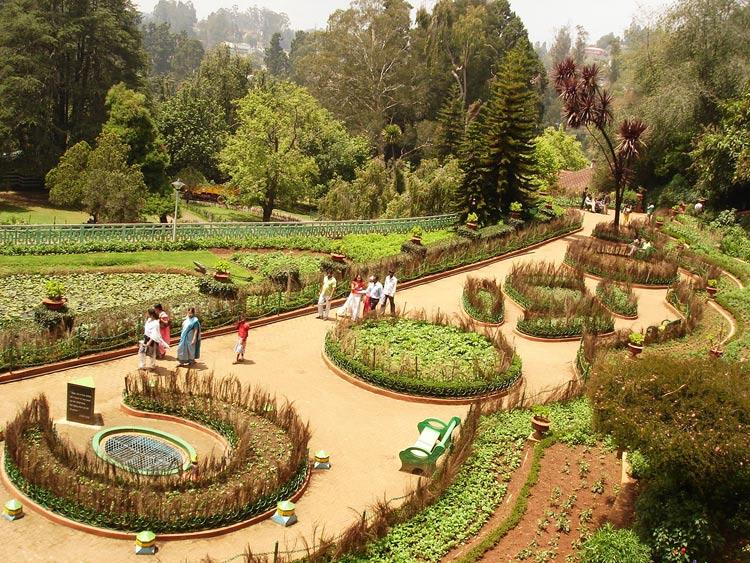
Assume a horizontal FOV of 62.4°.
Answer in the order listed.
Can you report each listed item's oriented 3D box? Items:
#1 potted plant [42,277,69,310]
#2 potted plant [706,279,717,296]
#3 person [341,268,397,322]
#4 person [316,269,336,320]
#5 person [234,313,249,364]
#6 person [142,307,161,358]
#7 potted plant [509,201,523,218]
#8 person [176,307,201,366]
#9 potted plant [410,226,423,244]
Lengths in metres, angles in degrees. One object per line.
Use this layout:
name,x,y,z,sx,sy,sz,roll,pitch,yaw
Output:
potted plant,-9.783,0.444,19.039,0.700,0.909,0.505,5,11,14
potted plant,14.624,0.249,26.920,0.542,0.656,0.589,0,8,0
person,-0.242,0.551,22.370,2.520,0.975,1.097,-26,27,-35
person,-1.790,0.410,22.934,0.611,1.589,1.676,1,11,-4
person,-4.050,1.628,18.756,0.356,1.460,1.285,-1,11,-13
person,-6.205,1.442,17.274,0.492,1.414,0.285,-4,11,-27
potted plant,7.959,-4.044,35.015,0.826,1.055,0.908,1,6,11
person,-5.375,1.570,17.860,0.602,1.765,0.595,-2,11,-19
potted plant,2.197,-2.283,30.795,0.736,1.134,0.934,0,11,-7
